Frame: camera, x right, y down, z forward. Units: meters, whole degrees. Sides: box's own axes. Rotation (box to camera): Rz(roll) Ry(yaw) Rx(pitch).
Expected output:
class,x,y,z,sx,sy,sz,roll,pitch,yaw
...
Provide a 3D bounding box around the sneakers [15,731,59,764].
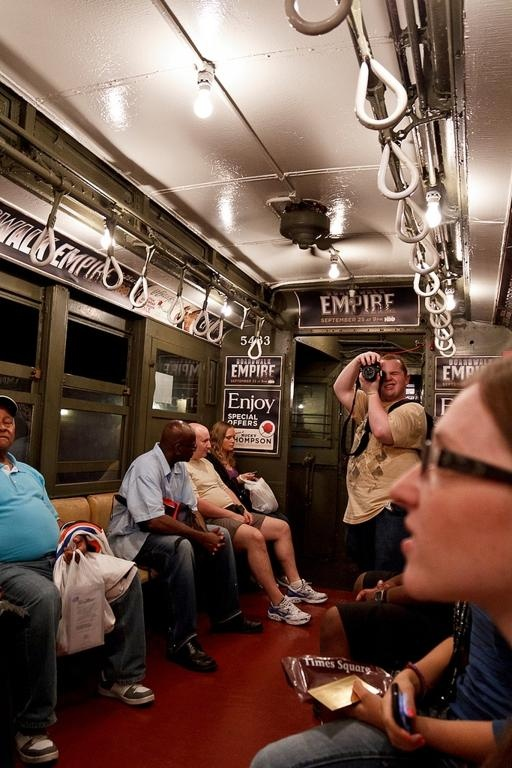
class,x,y,z,sx,sy,sz,roll,pitch,yaw
sneakers,-0.937,1.543,2.178,0.211,0.091,0.078,-17,-32,29

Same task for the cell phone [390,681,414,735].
class,x,y,z,sx,sy,sz,roll,pitch,yaw
cell phone,0.330,0.751,1.189,0.040,0.059,0.101,2,-8,2

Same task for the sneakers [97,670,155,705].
class,x,y,z,sx,sy,sz,roll,pitch,yaw
sneakers,-0.703,1.648,2.824,0.310,0.128,0.114,-7,-11,28

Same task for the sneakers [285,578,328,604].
class,x,y,z,sx,sy,sz,roll,pitch,yaw
sneakers,0.450,1.907,4.735,0.421,0.221,0.162,2,-3,9

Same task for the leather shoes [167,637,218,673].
class,x,y,z,sx,sy,sz,roll,pitch,yaw
leather shoes,-0.412,1.728,3.312,0.124,0.145,0.344,6,-11,-43

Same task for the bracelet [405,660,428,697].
class,x,y,z,sx,sy,sz,roll,pitch,yaw
bracelet,0.403,0.757,1.318,0.053,0.067,0.026,1,-24,-17

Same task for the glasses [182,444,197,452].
class,x,y,z,sx,sy,sz,roll,pitch,yaw
glasses,-0.482,0.482,3.835,0.060,0.064,0.066,-2,-7,-1

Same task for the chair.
class,x,y,z,sx,sy,sz,roll,pitch,yaw
chair,-1.292,1.216,3.882,0.776,0.685,0.805,-10,-24,27

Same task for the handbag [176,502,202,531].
class,x,y,z,sx,sy,sz,roll,pitch,yaw
handbag,-0.522,1.021,3.936,0.215,0.154,0.110,17,-29,-34

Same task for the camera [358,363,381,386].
class,x,y,z,sx,sy,sz,roll,pitch,yaw
camera,0.645,-0.061,2.925,0.113,0.118,0.071,2,-8,5
